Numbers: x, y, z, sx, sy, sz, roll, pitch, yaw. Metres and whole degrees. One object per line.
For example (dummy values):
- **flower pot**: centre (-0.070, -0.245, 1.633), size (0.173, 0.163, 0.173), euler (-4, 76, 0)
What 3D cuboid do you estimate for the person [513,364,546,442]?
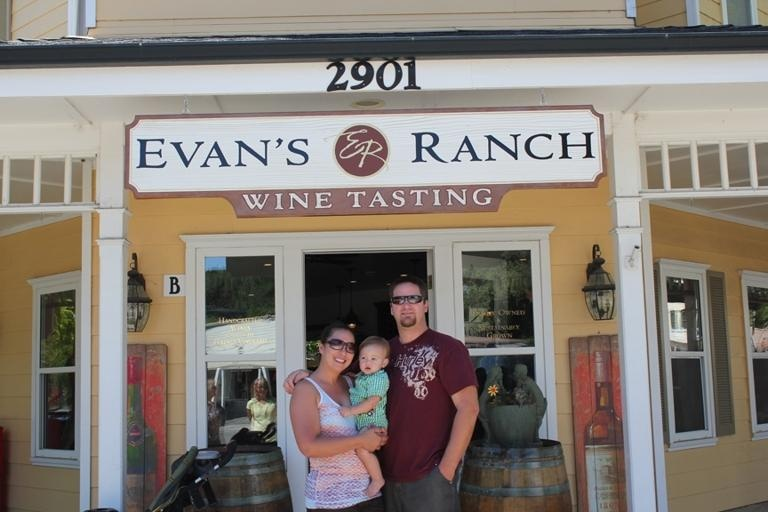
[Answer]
- **person**: centre (1.364, 1.397, 9.553), size (0.287, 0.754, 0.358), euler (5, -44, 5)

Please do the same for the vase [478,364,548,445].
- **vase**: centre (1.177, 1.379, 9.466), size (0.573, 0.746, 0.463), euler (-6, -10, 28)

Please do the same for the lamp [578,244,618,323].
- **lamp**: centre (2.183, 0.323, 10.357), size (0.319, 0.613, 0.191), euler (-3, -9, 9)

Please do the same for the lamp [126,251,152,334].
- **lamp**: centre (-2.485, 0.347, 10.298), size (0.232, 0.811, 0.347), euler (0, -9, -12)
